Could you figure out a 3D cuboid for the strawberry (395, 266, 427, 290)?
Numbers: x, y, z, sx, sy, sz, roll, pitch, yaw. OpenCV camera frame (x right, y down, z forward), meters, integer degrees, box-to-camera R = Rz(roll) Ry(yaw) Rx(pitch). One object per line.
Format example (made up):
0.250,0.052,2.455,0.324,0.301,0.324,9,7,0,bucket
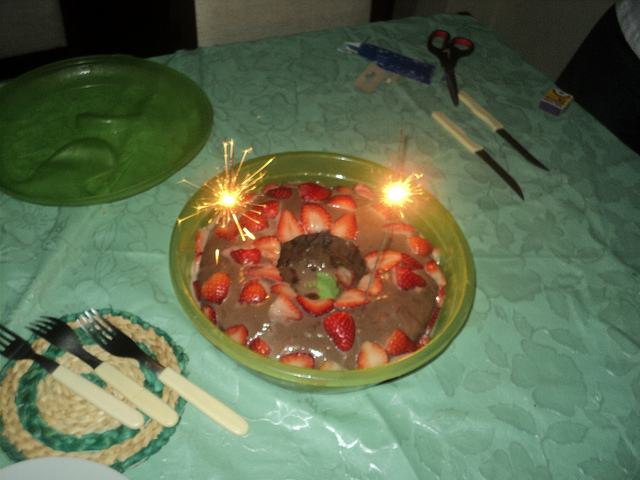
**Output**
0.240,0.099,1.387,0.081,0.049,0.036,13,17,-13,strawberry

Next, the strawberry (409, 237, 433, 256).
0.282,0.014,1.432,0.056,0.044,0.033,13,103,12,strawberry

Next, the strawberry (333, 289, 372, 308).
0.085,0.149,1.333,0.072,0.017,0.048,-3,47,-1,strawberry

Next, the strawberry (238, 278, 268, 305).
-0.176,0.137,1.328,0.068,0.018,0.068,-23,66,-19,strawberry

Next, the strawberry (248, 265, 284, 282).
-0.141,0.083,1.359,0.070,0.016,0.045,-1,26,-14,strawberry

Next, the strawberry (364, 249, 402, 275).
0.175,0.059,1.402,0.102,0.026,0.061,-2,61,-9,strawberry

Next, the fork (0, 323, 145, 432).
-0.599,0.340,1.242,0.423,0.024,0.065,31,74,26,fork

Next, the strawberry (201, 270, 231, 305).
-0.267,0.122,1.330,0.060,0.048,0.080,31,84,-3,strawberry

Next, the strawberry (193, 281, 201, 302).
-0.321,0.130,1.347,0.013,0.015,0.057,-23,65,20,strawberry

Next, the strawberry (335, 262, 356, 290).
0.069,0.094,1.366,0.048,0.016,0.063,-17,75,-24,strawberry

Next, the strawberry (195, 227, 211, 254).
-0.323,-0.001,1.405,0.032,0.015,0.065,17,78,-11,strawberry

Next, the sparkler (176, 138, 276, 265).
-0.271,-0.099,1.456,0.336,0.069,0.375,2,86,-14,sparkler

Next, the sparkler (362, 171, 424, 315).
0.253,-0.005,1.546,0.182,0.357,0.205,-27,48,-33,sparkler

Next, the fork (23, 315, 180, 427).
-0.524,0.325,1.249,0.486,0.028,0.068,23,41,18,fork

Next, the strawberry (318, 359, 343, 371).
0.028,0.310,1.273,0.031,0.033,0.020,2,80,29,strawberry

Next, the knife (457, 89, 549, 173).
0.640,-0.373,1.808,0.053,0.019,0.411,-20,57,-22,knife

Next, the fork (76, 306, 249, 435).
-0.384,0.330,1.263,0.453,0.026,0.060,37,52,11,fork

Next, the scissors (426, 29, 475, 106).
0.497,-0.657,1.971,0.168,0.041,0.297,2,82,3,scissors

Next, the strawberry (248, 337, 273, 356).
-0.148,0.262,1.272,0.047,0.038,0.036,10,30,3,strawberry

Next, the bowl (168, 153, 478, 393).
-0.029,0.149,1.432,0.685,0.226,0.707,7,52,-9,bowl

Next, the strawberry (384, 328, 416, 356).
0.198,0.265,1.305,0.063,0.023,0.068,-38,72,-25,strawberry

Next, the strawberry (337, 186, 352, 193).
0.069,-0.148,1.503,0.027,0.021,0.008,16,93,-18,strawberry

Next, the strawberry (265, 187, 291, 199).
-0.117,-0.136,1.484,0.048,0.015,0.035,-2,50,3,strawberry

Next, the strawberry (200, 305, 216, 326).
-0.278,0.188,1.320,0.023,0.033,0.042,-43,98,9,strawberry
